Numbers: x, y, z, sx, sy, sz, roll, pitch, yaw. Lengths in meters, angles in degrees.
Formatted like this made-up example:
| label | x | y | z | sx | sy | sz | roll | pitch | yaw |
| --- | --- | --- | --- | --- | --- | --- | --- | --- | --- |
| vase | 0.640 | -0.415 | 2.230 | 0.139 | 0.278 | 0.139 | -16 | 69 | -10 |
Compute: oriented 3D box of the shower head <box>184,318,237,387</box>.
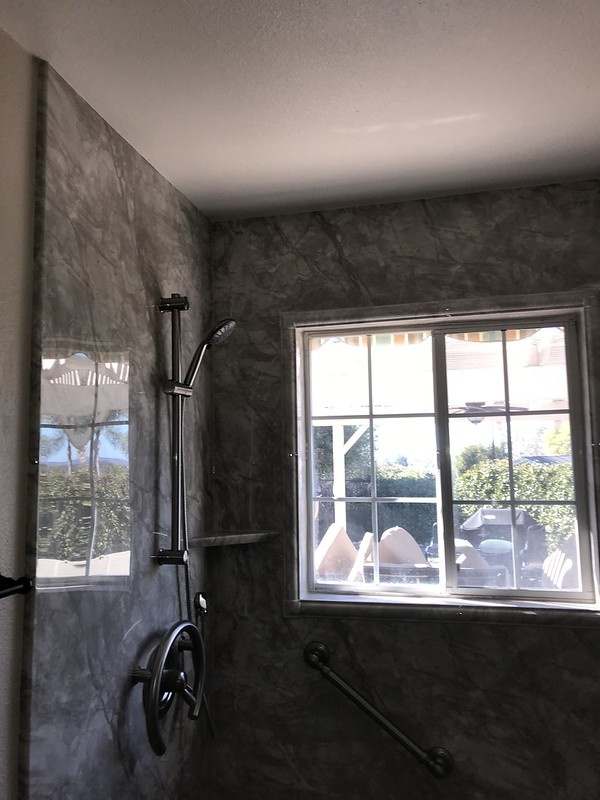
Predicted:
| label | x | y | z | sx | sy | sz | roll | pitch | yaw |
| --- | --- | --- | --- | --- | --- | --- | --- | --- | --- |
| shower head | -0.294 | -0.135 | 2.210 | 0.156 | 0.212 | 0.220 | -1 | -5 | -10 |
